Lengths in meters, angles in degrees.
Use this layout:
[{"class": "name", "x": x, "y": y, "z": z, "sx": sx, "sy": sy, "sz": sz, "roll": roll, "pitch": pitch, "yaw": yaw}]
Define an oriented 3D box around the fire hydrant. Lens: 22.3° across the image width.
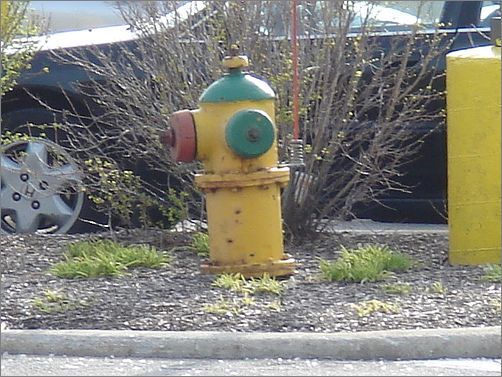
[{"class": "fire hydrant", "x": -0.101, "y": -0.200, "z": 10.577, "sx": 0.867, "sy": 1.848, "sz": 0.939, "roll": -14, "pitch": 27, "yaw": -25}]
